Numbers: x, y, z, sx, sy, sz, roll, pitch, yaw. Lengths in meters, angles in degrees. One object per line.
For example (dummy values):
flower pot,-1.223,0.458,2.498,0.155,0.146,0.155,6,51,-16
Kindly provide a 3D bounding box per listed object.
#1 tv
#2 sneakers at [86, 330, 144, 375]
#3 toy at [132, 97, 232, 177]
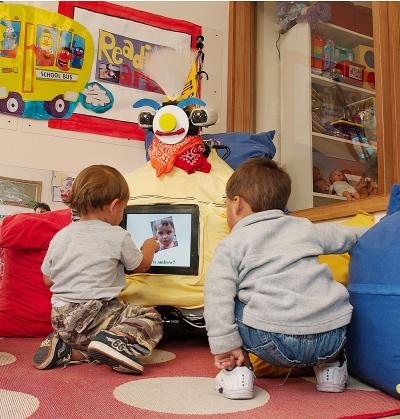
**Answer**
tv,-0.119,0.098,1.282,0.239,0.208,0.023,-1,-17,10
sneakers,-0.186,0.316,0.958,0.049,0.060,0.136,-6,-41,47
toy,-0.058,-0.252,1.619,0.297,0.251,0.312,-4,5,6
